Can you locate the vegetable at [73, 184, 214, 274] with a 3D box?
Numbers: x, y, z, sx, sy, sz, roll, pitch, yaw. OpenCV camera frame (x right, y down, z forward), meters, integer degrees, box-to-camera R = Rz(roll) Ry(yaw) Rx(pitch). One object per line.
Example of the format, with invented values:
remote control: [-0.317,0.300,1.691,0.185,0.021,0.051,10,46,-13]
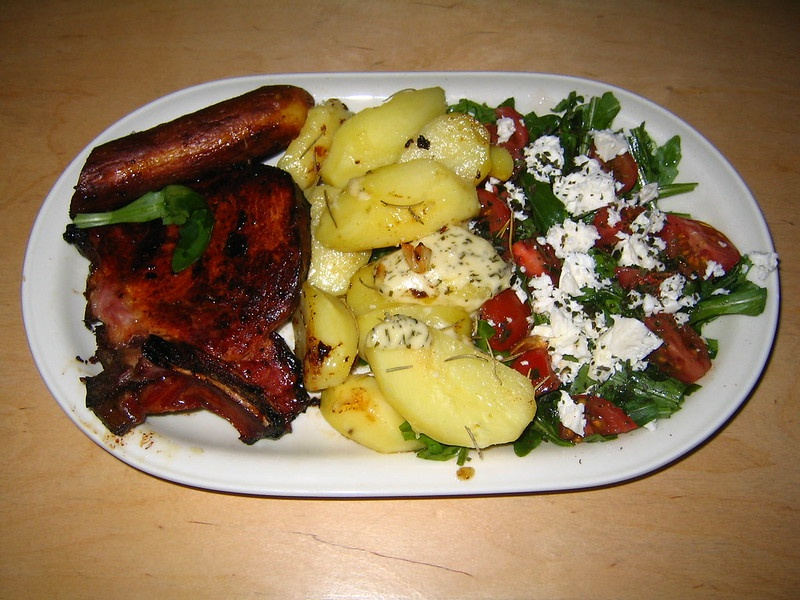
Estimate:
vegetable: [-1.196,-0.367,3.934,0.534,0.112,0.453,-10,78,-11]
